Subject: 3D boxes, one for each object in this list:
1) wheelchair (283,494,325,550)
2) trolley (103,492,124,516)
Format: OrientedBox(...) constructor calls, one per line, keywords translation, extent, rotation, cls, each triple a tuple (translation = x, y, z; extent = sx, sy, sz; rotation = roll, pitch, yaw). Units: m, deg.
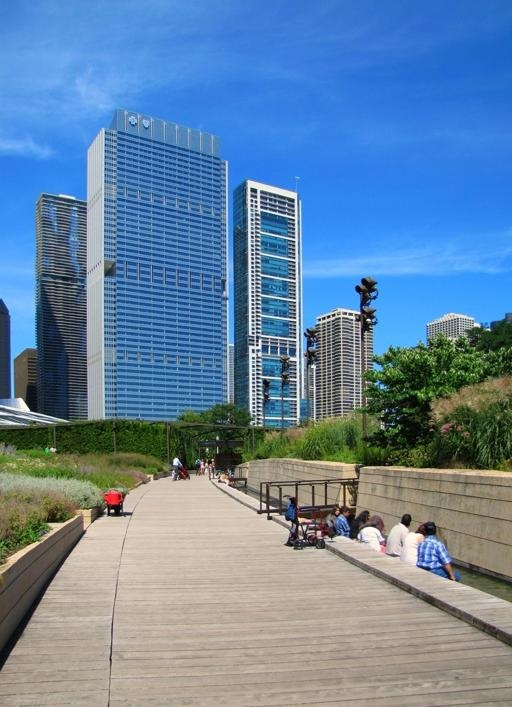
OrientedBox(translation=(0.678, 2.444, 10.640), extent=(0.778, 1.001, 0.646), rotation=(-1, -6, -1), cls="wheelchair")
OrientedBox(translation=(-2.798, 2.885, 14.109), extent=(0.338, 0.565, 0.834), rotation=(0, -3, -12), cls="trolley")
